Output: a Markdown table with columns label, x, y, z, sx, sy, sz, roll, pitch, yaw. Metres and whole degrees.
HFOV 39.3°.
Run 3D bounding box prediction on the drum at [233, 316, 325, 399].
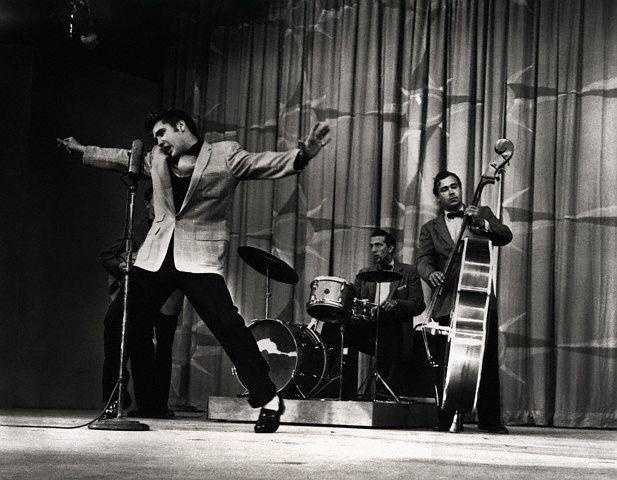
| label | x | y | z | sx | sy | sz | roll | pitch | yaw |
| --- | --- | --- | --- | --- | --- | --- | --- | --- | --- |
| drum | -0.228 | 0.868 | 6.170 | 0.489 | 0.573 | 0.371 | -5 | -17 | 33 |

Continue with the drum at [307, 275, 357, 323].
| label | x | y | z | sx | sy | sz | roll | pitch | yaw |
| --- | --- | --- | --- | --- | --- | --- | --- | --- | --- |
| drum | 0.113 | 0.445 | 6.013 | 0.280 | 0.222 | 0.308 | -3 | -35 | 19 |

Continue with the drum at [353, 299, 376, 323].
| label | x | y | z | sx | sy | sz | roll | pitch | yaw |
| --- | --- | --- | --- | --- | --- | --- | --- | --- | --- |
| drum | 0.321 | 0.472 | 6.054 | 0.114 | 0.170 | 0.119 | -1 | 23 | 0 |

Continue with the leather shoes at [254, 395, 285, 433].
| label | x | y | z | sx | sy | sz | roll | pitch | yaw |
| --- | --- | --- | --- | --- | --- | --- | --- | --- | --- |
| leather shoes | -0.232 | 0.990 | 4.714 | 0.114 | 0.132 | 0.313 | -10 | 0 | 10 |

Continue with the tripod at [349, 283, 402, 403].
| label | x | y | z | sx | sy | sz | roll | pitch | yaw |
| --- | --- | --- | --- | --- | --- | --- | --- | --- | --- |
| tripod | 0.430 | 0.695 | 6.087 | 0.277 | 0.884 | 0.314 | 3 | -4 | -26 |

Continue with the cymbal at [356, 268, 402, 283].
| label | x | y | z | sx | sy | sz | roll | pitch | yaw |
| --- | --- | --- | --- | --- | --- | --- | --- | --- | --- |
| cymbal | 0.421 | 0.255 | 6.032 | 0.300 | 0.092 | 0.242 | 4 | -5 | 3 |

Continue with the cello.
| label | x | y | z | sx | sy | sz | roll | pitch | yaw |
| --- | --- | --- | --- | --- | --- | --- | --- | --- | --- |
| cello | 0.941 | 0.234 | 5.439 | 0.395 | 1.754 | 0.580 | 2 | -5 | 12 |
